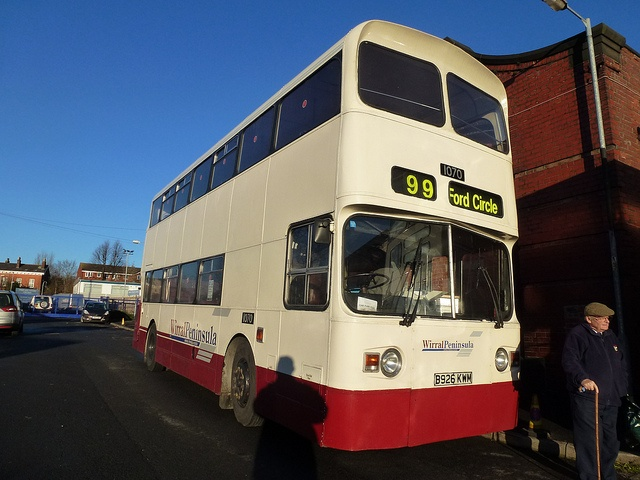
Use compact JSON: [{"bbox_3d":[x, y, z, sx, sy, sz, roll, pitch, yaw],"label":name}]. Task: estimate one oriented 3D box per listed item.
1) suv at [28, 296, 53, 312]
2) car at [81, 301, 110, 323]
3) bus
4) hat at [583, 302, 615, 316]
[{"bbox_3d":[-28.544,6.544,43.373,1.196,1.300,2.259,5,2,-27],"label":"suv"},{"bbox_3d":[-20.067,6.396,37.813,1.362,1.472,2.922,9,-15,-26],"label":"car"},{"bbox_3d":[-0.852,0.676,11.197,3.888,6.782,11.867,7,-9,-25],"label":"bus"},{"bbox_3d":[3.853,0.979,5.958,0.222,0.114,0.257,2,-15,1],"label":"hat"}]
